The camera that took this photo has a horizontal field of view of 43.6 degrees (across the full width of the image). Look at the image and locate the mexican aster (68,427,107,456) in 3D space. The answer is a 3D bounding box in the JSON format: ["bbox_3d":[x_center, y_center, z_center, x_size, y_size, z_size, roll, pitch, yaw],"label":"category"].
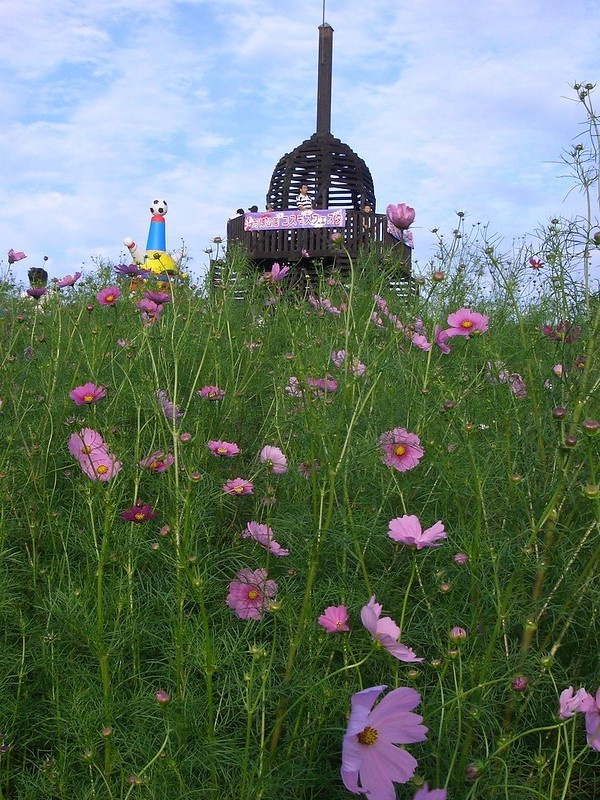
[{"bbox_3d":[-0.451,0.091,1.601,0.082,0.032,0.089,-1,49,-31],"label":"mexican aster"}]

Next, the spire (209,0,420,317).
[{"bbox_3d":[0.413,-4.366,14.100,3.010,5.557,3.205,1,2,1],"label":"spire"}]

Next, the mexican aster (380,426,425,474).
[{"bbox_3d":[0.232,0.110,1.718,0.094,0.093,0.143,2,11,18],"label":"mexican aster"}]
